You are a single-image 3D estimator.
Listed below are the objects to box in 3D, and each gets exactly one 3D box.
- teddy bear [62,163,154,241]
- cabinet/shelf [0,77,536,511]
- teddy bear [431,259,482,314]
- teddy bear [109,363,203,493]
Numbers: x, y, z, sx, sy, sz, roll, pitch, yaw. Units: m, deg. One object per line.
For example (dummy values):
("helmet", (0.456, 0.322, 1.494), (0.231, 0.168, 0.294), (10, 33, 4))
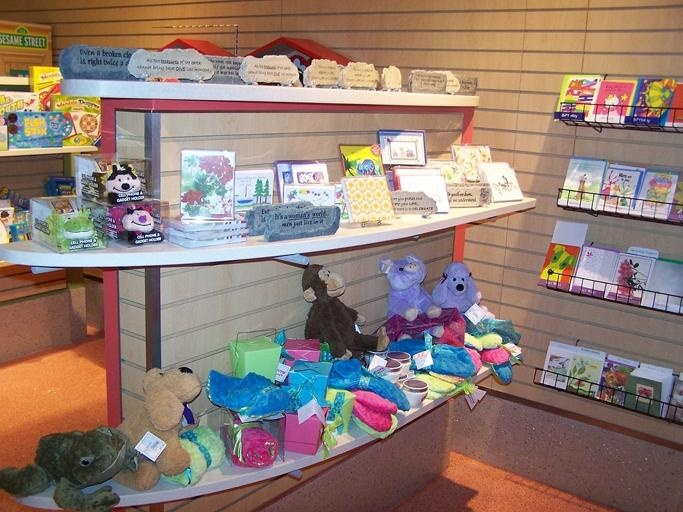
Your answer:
("teddy bear", (-0.888, -0.200, 1.866), (0.186, 0.189, 0.343), (-10, 51, -45))
("cabinet/shelf", (-0.136, 0.238, 2.641), (1.081, 1.920, 2.828), (12, 15, 42))
("teddy bear", (0.753, 0.191, 3.366), (0.404, 0.441, 0.300), (0, 5, -7))
("teddy bear", (-0.785, 0.667, 2.143), (0.411, 0.491, 0.360), (-2, 13, -27))
